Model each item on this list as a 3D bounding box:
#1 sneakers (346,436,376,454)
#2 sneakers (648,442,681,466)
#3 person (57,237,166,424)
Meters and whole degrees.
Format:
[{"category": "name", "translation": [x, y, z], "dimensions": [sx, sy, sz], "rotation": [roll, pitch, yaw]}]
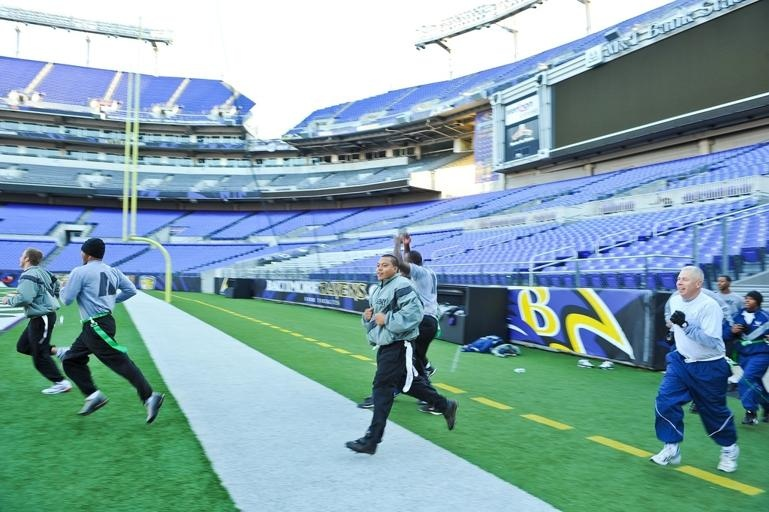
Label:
[{"category": "sneakers", "translation": [-0.274, 2.158, 6.163], "dimensions": [0.359, 0.252, 0.160], "rotation": [4, 12, -3]}, {"category": "sneakers", "translation": [3.257, 2.267, 6.194], "dimensions": [0.406, 0.290, 0.143], "rotation": [4, 12, -5]}, {"category": "person", "translation": [-3.466, 0.942, 6.850], "dimensions": [1.126, 2.329, 1.324], "rotation": [2, 13, -25]}]
